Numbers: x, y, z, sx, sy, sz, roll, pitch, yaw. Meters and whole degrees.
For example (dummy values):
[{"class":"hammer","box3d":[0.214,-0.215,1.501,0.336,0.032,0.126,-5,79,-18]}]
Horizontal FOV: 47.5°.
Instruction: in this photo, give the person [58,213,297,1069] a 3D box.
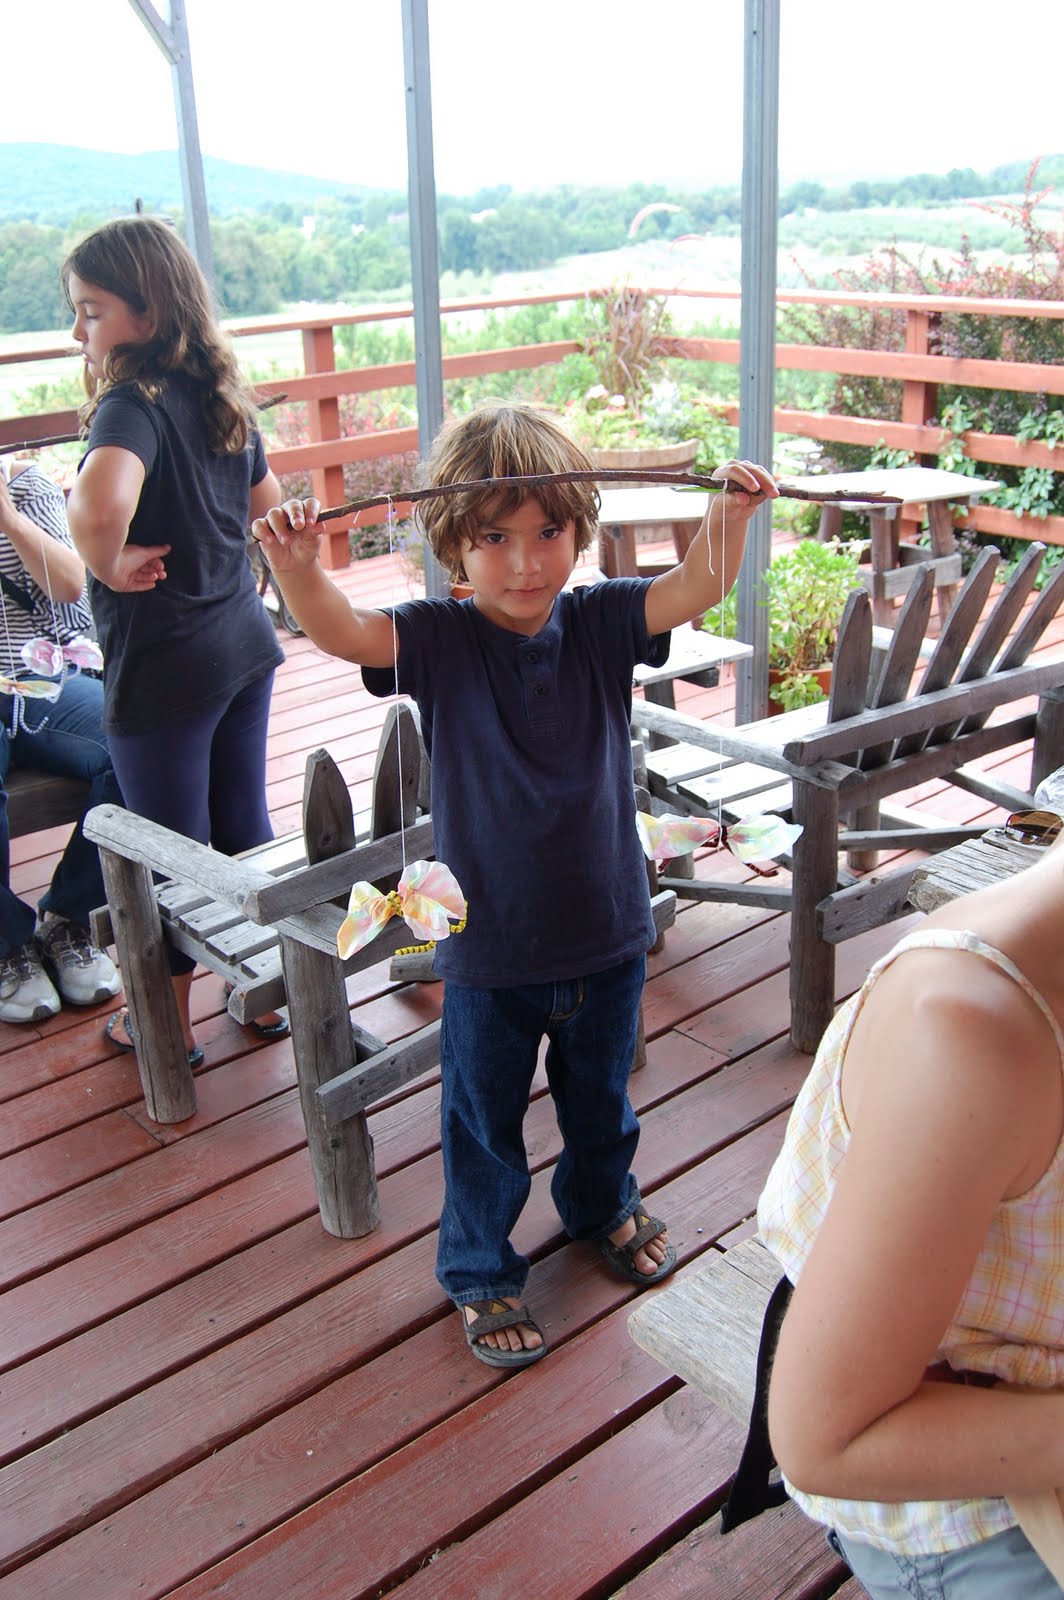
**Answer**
[{"class":"person","box3d":[-0.677,-0.429,2.278,0.266,1.202,0.566,4,27,12]}]

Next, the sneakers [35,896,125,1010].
[{"class":"sneakers","box3d":[-1.078,0.362,2.893,0.330,0.141,0.127,40,40,28]}]

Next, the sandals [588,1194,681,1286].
[{"class":"sandals","box3d":[0.158,0.686,1.893,0.078,0.036,0.122,-19,25,-27]}]

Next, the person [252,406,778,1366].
[{"class":"person","box3d":[0.013,0.130,1.725,0.459,1.289,0.568,21,34,39]}]
